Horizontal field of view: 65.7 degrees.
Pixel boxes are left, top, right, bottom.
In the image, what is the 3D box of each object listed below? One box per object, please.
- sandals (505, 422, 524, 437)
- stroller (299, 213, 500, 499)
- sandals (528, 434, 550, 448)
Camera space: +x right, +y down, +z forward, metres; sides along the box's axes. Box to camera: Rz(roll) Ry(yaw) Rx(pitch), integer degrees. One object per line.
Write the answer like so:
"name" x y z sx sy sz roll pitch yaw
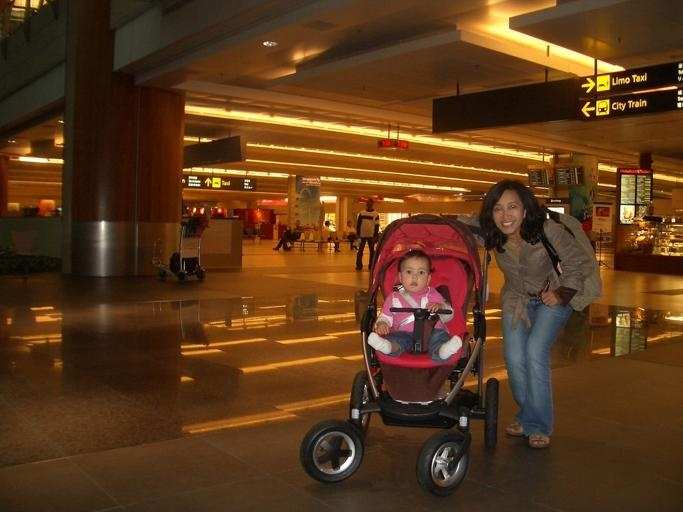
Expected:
"sandals" 1.144 1.134 3.475 0.149 0.062 0.056 6 4 33
"stroller" 0.426 0.511 3.118 0.964 1.532 1.191 1 3 16
"sandals" 1.224 1.140 3.262 0.122 0.067 0.070 1 3 9
